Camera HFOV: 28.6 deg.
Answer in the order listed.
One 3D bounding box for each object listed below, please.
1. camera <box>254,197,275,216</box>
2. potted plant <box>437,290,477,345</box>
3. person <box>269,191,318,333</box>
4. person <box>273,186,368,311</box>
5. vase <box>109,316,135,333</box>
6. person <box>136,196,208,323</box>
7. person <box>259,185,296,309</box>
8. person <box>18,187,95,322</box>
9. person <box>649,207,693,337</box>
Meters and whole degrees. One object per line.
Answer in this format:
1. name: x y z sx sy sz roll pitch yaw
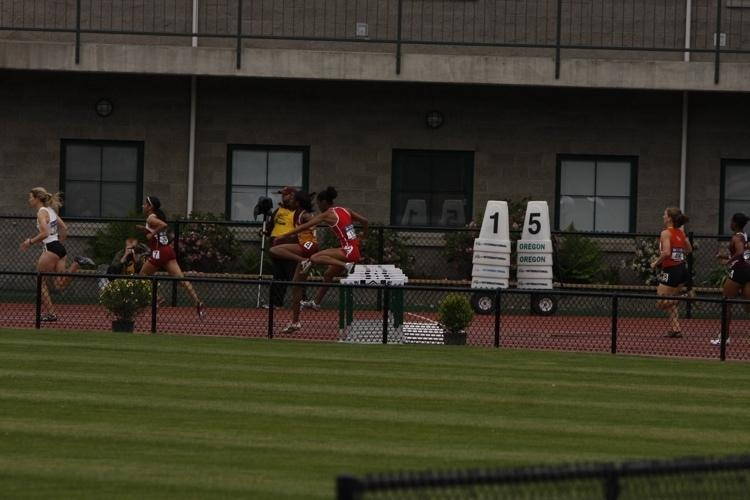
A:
1. camera: -2.250 -0.863 28.928 0.344 0.384 0.433 3 12 -12
2. potted plant: 1.336 1.185 25.013 0.873 0.977 0.754 1 -1 -1
3. person: -1.412 0.219 25.814 0.920 2.396 0.834 -3 -3 -6
4. person: -0.901 -0.080 26.252 1.373 2.265 1.120 -6 -2 -4
5. vase: -4.378 1.274 25.122 0.485 0.237 0.305 5 -4 -4
6. person: -3.958 0.151 27.156 1.359 2.249 0.759 0 0 -1
7. person: -1.873 -0.160 27.410 0.686 2.053 0.624 0 -3 2
8. person: -5.988 -0.078 26.853 1.298 2.716 1.149 -1 -5 41
9. person: 5.265 0.427 26.371 0.763 2.295 0.780 -1 0 31
